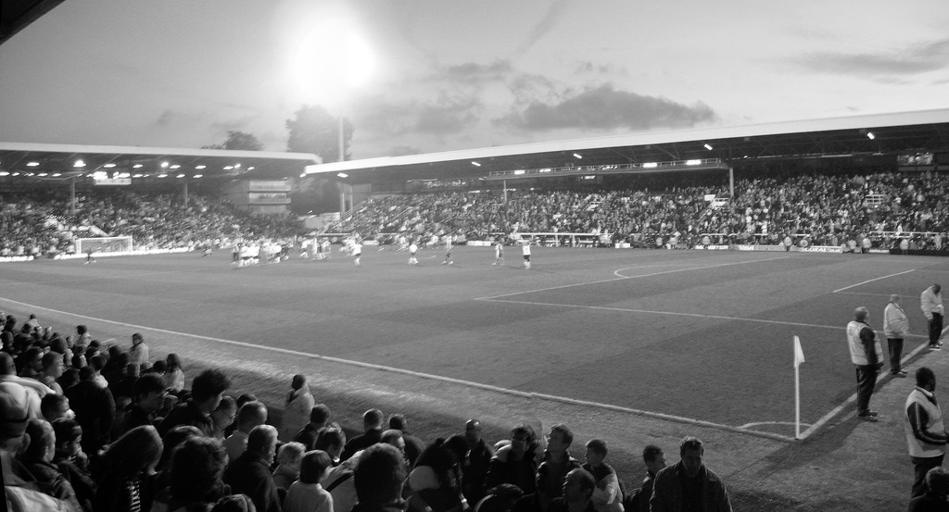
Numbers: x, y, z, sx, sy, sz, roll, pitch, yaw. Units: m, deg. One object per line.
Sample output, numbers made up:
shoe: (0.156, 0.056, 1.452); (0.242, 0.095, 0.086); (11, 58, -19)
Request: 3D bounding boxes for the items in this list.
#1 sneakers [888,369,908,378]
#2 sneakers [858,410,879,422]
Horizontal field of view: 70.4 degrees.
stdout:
sneakers: (12.387, 3.488, 19.781); (0.453, 0.256, 0.137); (-13, 15, -2)
sneakers: (10.220, 4.154, 17.335); (0.697, 0.245, 0.201); (-7, 7, 3)
